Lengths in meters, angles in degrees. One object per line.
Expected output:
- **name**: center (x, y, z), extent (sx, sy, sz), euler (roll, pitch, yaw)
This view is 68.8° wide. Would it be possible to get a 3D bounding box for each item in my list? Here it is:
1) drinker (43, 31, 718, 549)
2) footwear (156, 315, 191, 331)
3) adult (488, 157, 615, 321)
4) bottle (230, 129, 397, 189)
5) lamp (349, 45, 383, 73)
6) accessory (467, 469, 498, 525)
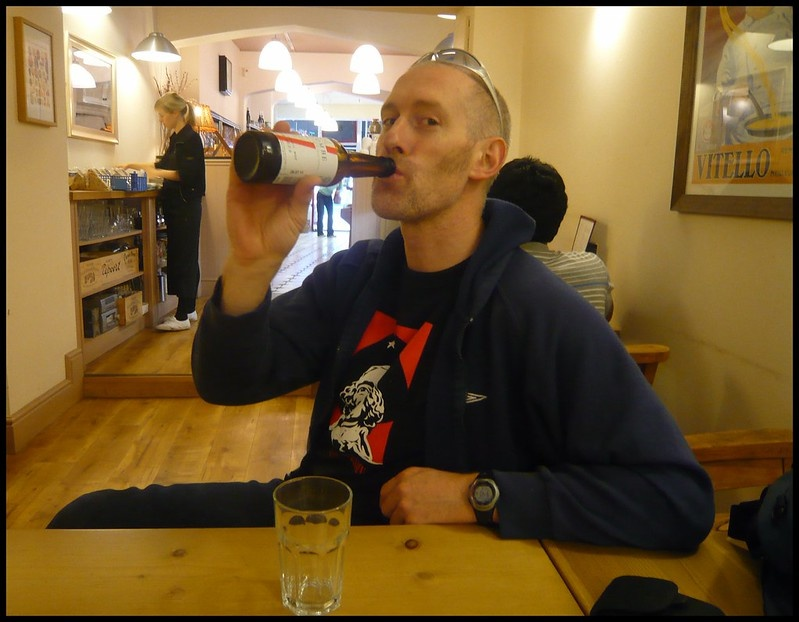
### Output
- **drinker**: center (-0.002, 0.048, 1.338), extent (1.325, 1.165, 0.622), euler (0, -17, 22)
- **footwear**: center (-1.797, 0.095, 4.656), extent (0.223, 0.090, 0.121), euler (3, 2, -12)
- **adult**: center (0.553, -0.256, 2.257), extent (0.618, 0.546, 0.307), euler (1, 18, -27)
- **bottle**: center (-0.164, -0.287, 1.129), extent (0.303, 0.096, 0.138), euler (-9, 16, -42)
- **lamp**: center (-0.332, -2.669, 6.183), extent (0.409, 0.320, 0.412), euler (1, 2, -3)
- **accessory**: center (0.136, 0.304, 0.938), extent (0.042, 0.065, 0.065), euler (2, 55, 10)
